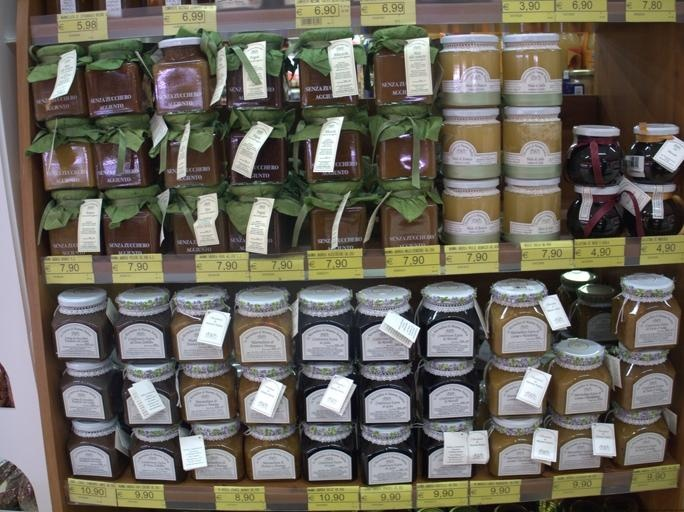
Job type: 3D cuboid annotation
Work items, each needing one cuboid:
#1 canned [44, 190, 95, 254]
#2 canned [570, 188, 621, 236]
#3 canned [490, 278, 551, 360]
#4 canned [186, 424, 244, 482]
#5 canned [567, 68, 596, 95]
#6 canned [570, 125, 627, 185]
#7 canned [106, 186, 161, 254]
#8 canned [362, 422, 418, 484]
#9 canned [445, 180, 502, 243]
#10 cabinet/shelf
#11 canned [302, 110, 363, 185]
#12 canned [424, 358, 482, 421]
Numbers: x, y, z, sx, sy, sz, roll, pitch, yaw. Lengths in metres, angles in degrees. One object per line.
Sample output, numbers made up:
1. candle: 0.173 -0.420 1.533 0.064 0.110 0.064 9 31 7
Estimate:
1. canned: -0.912 -0.115 2.105 0.182 0.211 0.104 -1 16 14
2. canned: 0.823 -0.146 2.134 0.178 0.147 0.165 -3 4 -1
3. canned: 0.586 0.210 2.090 0.191 0.232 0.110 -4 16 5
4. canned: -0.440 0.672 2.257 0.214 0.179 0.199 0 1 -8
5. canned: 0.955 -0.685 2.543 0.113 0.125 0.106 1 0 5
6. canned: 0.828 -0.328 2.055 0.207 0.178 0.196 1 10 12
7. canned: -0.695 -0.118 2.086 0.192 0.213 0.097 -10 16 -18
8. canned: 0.157 0.661 2.203 0.215 0.185 0.203 0 6 -3
9. canned: 0.427 -0.146 2.072 0.185 0.215 0.094 -3 16 9
10. cabinet/shelf: -0.011 0.006 2.074 1.950 1.592 0.650 -1 8 -1
11. canned: -0.025 -0.331 1.993 0.194 0.204 0.134 -5 16 2
12. canned: 0.359 0.445 2.190 0.215 0.180 0.199 0 2 -10
